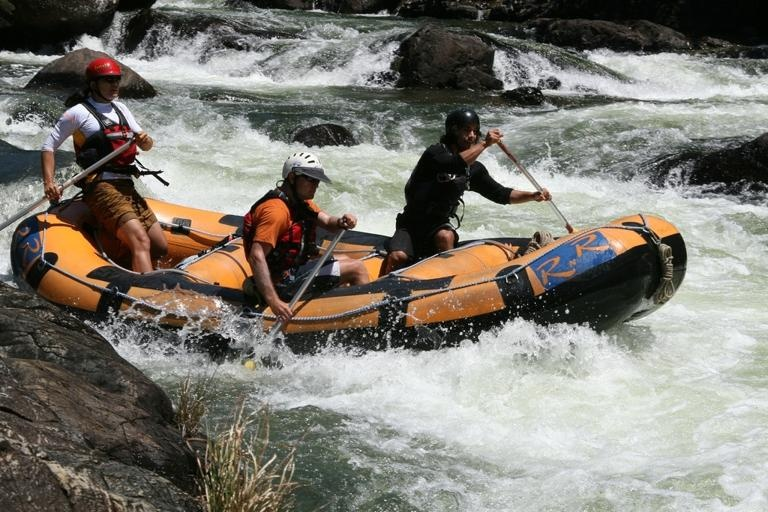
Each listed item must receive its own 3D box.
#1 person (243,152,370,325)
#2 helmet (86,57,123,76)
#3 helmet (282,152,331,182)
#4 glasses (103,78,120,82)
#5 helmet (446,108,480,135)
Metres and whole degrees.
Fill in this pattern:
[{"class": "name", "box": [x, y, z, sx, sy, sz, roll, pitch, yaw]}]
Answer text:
[{"class": "person", "box": [-0.824, -0.185, 8.892, 1.185, 1.762, 0.743, -5, 26, -40]}, {"class": "helmet", "box": [-3.150, -2.044, 9.411, 0.447, 0.113, 0.304, 2, 8, 32]}, {"class": "helmet", "box": [-0.772, -0.898, 8.754, 0.541, 0.172, 0.299, 6, 3, 4]}, {"class": "glasses", "box": [-2.939, -1.916, 9.411, 0.071, 0.072, 0.162, 19, 18, 27]}, {"class": "helmet", "box": [0.845, -1.464, 9.458, 0.404, 0.205, 0.277, 5, 29, 5]}]
